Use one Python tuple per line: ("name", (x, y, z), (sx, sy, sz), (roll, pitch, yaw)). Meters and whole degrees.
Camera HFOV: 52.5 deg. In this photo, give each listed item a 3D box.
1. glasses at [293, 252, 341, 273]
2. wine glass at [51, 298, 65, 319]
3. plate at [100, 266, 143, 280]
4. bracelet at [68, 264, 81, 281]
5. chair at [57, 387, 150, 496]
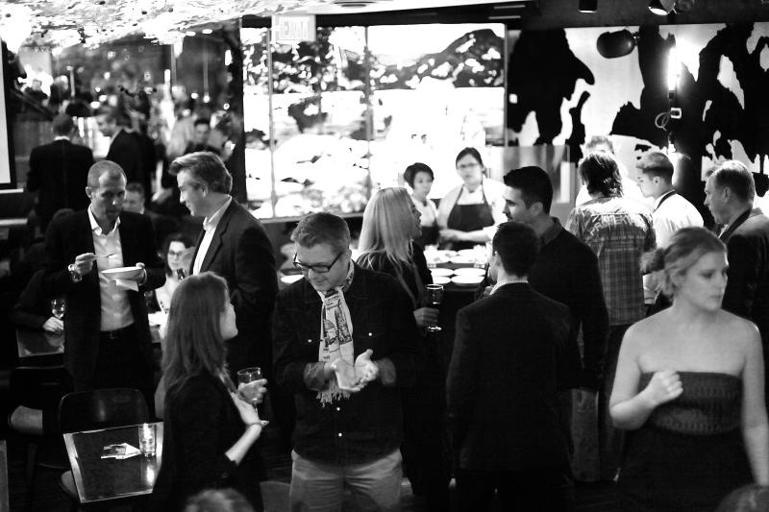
("glasses", (-0.357, 0.040, 3.848), (0.261, 0.096, 0.130), (0, 2, 33))
("wine glass", (-2.262, 0.367, 5.389), (0.074, 0.143, 0.143), (-2, 2, -29))
("plate", (-1.824, 0.121, 5.285), (0.319, 0.094, 0.151), (0, 2, 15))
("bracelet", (-2.058, 0.108, 5.169), (0.028, 0.081, 0.112), (-31, 57, -28))
("chair", (-1.732, 1.101, 4.705), (0.508, 0.581, 0.508), (0, -3, -21))
